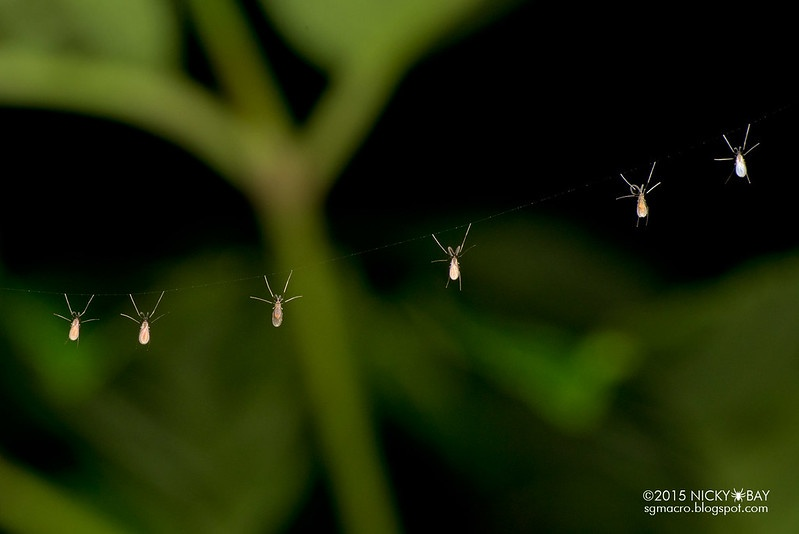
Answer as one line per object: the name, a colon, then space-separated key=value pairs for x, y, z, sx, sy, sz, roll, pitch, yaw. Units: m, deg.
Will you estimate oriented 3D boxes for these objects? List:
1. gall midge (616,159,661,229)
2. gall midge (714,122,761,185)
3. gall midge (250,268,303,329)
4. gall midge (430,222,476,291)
gall midge: x=1.198 y=-0.385 z=3.808 sx=0.222 sy=0.284 sz=0.066 roll=-2 pitch=12 yaw=9
gall midge: x=1.694 y=-0.578 z=3.760 sx=0.239 sy=0.269 sz=0.057 roll=3 pitch=10 yaw=3
gall midge: x=-0.649 y=0.206 z=3.956 sx=0.247 sy=0.081 sz=0.263 roll=-9 pitch=34 yaw=-8
gall midge: x=0.265 y=-0.050 z=3.797 sx=0.182 sy=0.319 sz=0.073 roll=1 pitch=-5 yaw=0
